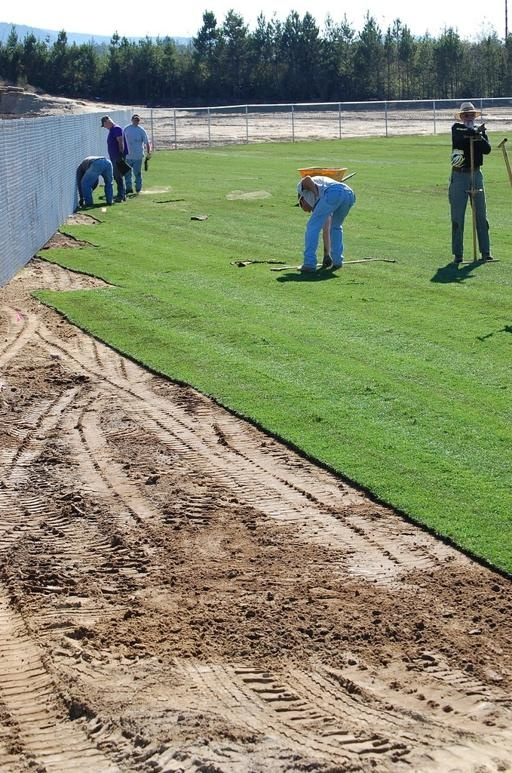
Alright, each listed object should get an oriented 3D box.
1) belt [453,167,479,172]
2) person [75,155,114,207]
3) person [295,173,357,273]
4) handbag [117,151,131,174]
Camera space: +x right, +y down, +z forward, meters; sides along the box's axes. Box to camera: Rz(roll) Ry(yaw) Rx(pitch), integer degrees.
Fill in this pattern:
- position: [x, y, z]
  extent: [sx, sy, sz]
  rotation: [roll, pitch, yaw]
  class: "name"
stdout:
- position: [2.955, -3.039, 13.729]
  extent: [0.355, 0.076, 0.324]
  rotation: [1, 9, 5]
  class: "belt"
- position: [-3.657, -4.602, 21.946]
  extent: [0.801, 1.165, 0.990]
  rotation: [-2, 10, -8]
  class: "person"
- position: [0.945, -2.217, 13.395]
  extent: [0.737, 1.300, 0.990]
  rotation: [1, 10, 9]
  class: "person"
- position: [-3.061, -5.094, 22.382]
  extent: [0.220, 0.450, 0.502]
  rotation: [0, 9, 5]
  class: "handbag"
